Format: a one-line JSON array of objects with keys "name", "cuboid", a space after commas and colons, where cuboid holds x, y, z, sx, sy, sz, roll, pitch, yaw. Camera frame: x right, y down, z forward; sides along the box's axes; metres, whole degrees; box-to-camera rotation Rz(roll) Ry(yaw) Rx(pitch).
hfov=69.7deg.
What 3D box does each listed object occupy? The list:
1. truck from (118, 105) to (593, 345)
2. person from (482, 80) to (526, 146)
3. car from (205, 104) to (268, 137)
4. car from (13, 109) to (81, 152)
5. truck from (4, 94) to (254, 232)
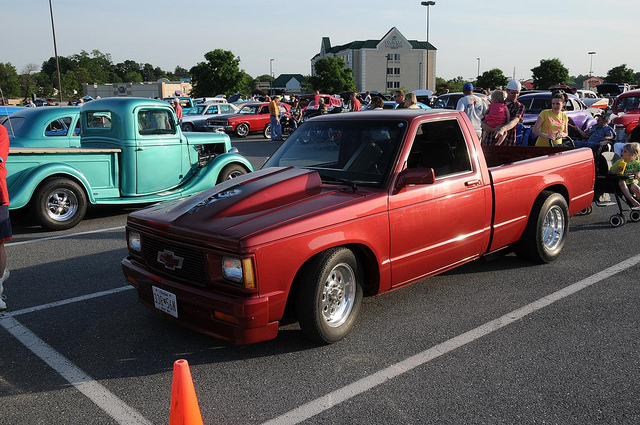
[{"name": "truck", "cuboid": [0.880, -0.061, 6.049, 5.909, 1.946, 2.812, -7, 10, -36]}, {"name": "person", "cuboid": [3.964, -2.120, 10.304, 0.508, 1.257, 0.415, 11, 14, 39]}, {"name": "car", "cuboid": [-4.755, -5.265, 26.367, 3.336, 1.234, 1.905, -10, 12, -35]}, {"name": "car", "cuboid": [-6.852, -2.028, 11.360, 1.080, 0.917, 1.889, 13, 21, 41]}, {"name": "truck", "cuboid": [-3.953, -1.219, 10.067, 5.045, 2.162, 2.670, -15, 20, -41]}]
